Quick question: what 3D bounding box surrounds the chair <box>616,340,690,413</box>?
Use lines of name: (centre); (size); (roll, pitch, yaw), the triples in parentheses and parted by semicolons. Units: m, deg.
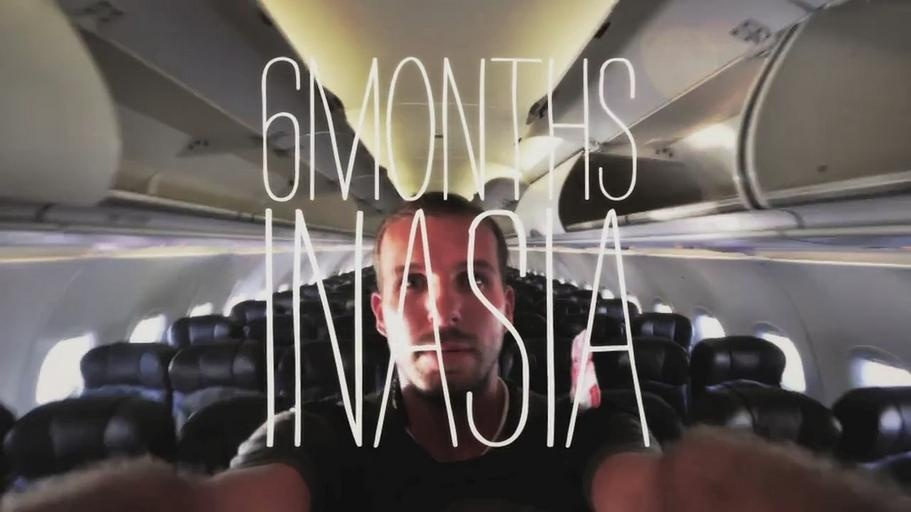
chair: (0.854, 0.484, 2.345); (0.284, 0.364, 0.321); (-2, -8, 15)

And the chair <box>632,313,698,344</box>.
chair: (0.867, 0.294, 2.347); (0.153, 0.182, 0.197); (3, -2, 3)

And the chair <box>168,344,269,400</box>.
chair: (-0.958, 0.452, 2.320); (0.279, 0.219, 0.268); (0, 5, -1)

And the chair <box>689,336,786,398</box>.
chair: (1.245, 0.441, 2.443); (0.275, 0.228, 0.198); (-3, 29, 10)
